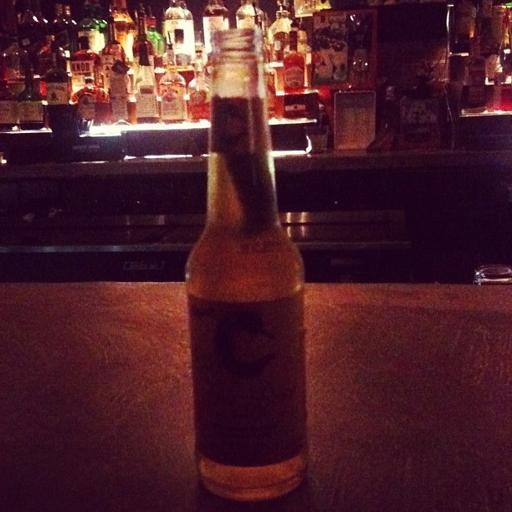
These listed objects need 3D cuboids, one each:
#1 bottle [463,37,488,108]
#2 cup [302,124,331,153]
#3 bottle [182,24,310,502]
[{"bbox_3d":[0.867,-0.686,2.183,0.084,0.203,0.170,3,12,22],"label":"bottle"},{"bbox_3d":[0.232,-0.461,2.156,0.107,0.142,0.100,0,18,0],"label":"cup"},{"bbox_3d":[-0.006,0.004,0.254,0.057,0.209,0.051,-1,11,4],"label":"bottle"}]
